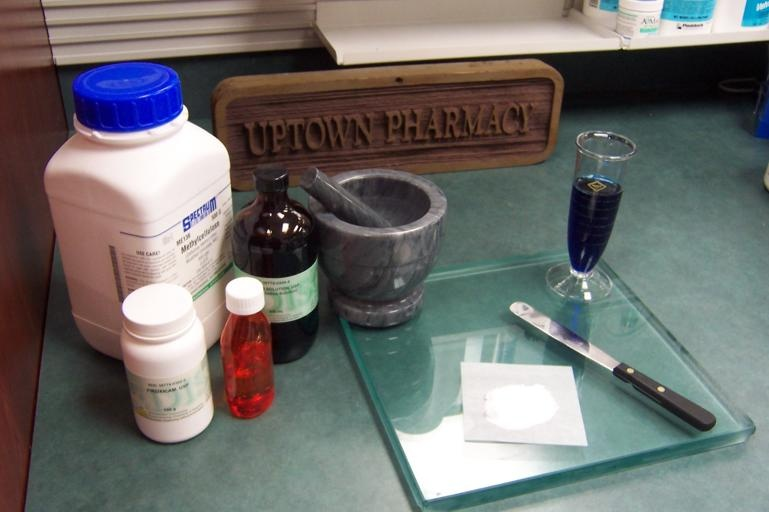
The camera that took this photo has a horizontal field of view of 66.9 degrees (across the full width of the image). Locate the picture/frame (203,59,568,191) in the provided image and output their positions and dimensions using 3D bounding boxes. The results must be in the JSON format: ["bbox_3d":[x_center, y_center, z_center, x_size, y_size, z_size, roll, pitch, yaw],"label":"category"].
[{"bbox_3d":[0.029,-0.281,1.235,0.726,0.236,0.106,-6,37,-2],"label":"picture/frame"}]

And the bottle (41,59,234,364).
[{"bbox_3d":[-0.343,-0.046,0.822,0.213,0.362,0.204,0,42,0],"label":"bottle"}]

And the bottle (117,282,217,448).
[{"bbox_3d":[-0.296,0.150,0.792,0.108,0.193,0.109,3,27,-1],"label":"bottle"}]

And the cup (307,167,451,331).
[{"bbox_3d":[-0.012,-0.007,0.958,0.197,0.214,0.198,2,38,-1],"label":"cup"}]

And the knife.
[{"bbox_3d":[0.347,0.174,0.884,0.034,0.028,0.272,-26,48,-37],"label":"knife"}]
